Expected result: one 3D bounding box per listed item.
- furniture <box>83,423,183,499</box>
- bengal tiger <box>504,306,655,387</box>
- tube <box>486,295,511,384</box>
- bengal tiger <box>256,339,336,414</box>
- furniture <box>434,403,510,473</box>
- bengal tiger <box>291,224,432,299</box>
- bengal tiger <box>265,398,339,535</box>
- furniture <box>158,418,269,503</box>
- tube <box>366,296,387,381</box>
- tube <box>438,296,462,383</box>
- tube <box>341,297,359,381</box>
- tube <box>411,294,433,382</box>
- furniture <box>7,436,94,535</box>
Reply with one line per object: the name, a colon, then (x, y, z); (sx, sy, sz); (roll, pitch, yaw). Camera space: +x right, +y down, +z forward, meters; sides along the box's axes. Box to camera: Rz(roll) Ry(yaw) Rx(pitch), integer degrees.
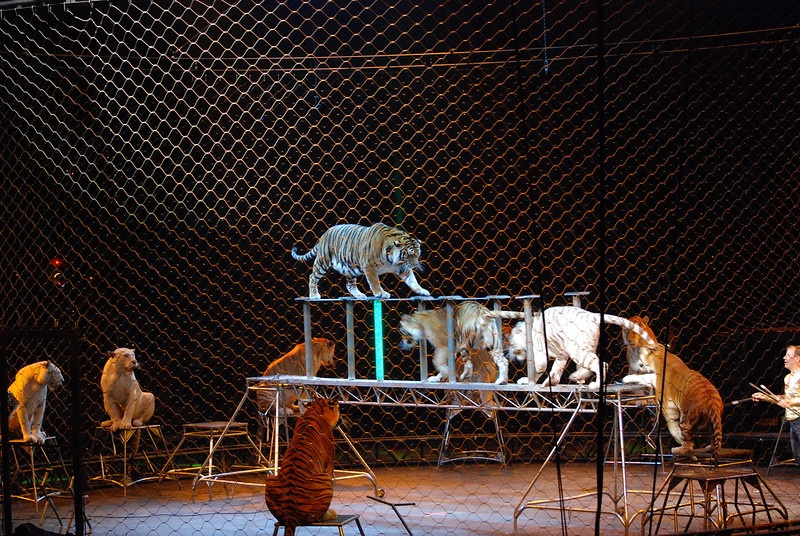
furniture: (-2.795, 1.992, 11.270); (0.695, 0.576, 0.670); (-1, -10, 5)
bengal tiger: (1.577, 0.730, 9.808); (1.385, 0.803, 0.433); (-2, 15, 23)
tube: (0.889, 0.680, 9.983); (0.162, 0.759, 0.376); (1, -13, 5)
bengal tiger: (-1.052, 1.157, 11.183); (0.923, 0.760, 0.385); (-10, -14, 15)
furniture: (0.813, 1.767, 11.541); (0.708, 0.671, 0.676); (-14, -23, 38)
bengal tiger: (-0.461, -0.026, 10.435); (1.452, 0.736, 0.415); (0, 4, 26)
bengal tiger: (-0.713, 1.549, 8.551); (0.445, 1.018, 0.623); (-3, -6, 35)
furniture: (-1.714, 1.824, 10.979); (0.696, 0.497, 0.729); (-11, -2, -13)
tube: (-0.192, 0.648, 9.697); (0.095, 0.704, 0.116); (1, -5, -5)
tube: (0.432, 0.675, 9.624); (0.171, 0.854, 0.184); (5, 18, 28)
tube: (-0.453, 0.621, 9.823); (0.200, 0.873, 0.182); (-2, -30, -1)
tube: (0.195, 0.639, 10.074); (0.186, 0.389, 0.806); (7, 28, -6)
furniture: (-3.315, 1.962, 10.257); (0.711, 0.785, 2.106); (2, -5, -20)
